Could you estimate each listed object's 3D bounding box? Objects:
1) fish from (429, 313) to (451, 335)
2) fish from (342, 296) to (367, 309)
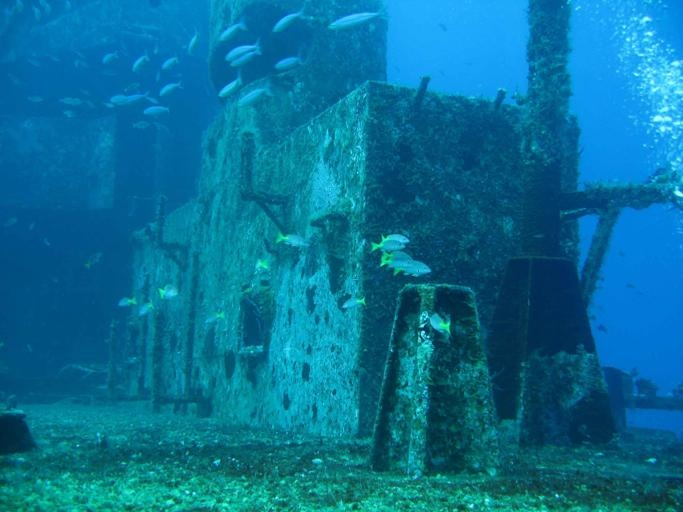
[{"bbox_3d":[2.092,1.484,17.652,0.454,0.452,0.135,-1,13,1],"label":"fish"},{"bbox_3d":[0.218,1.180,20.059,0.694,0.398,0.216,8,16,34],"label":"fish"}]
